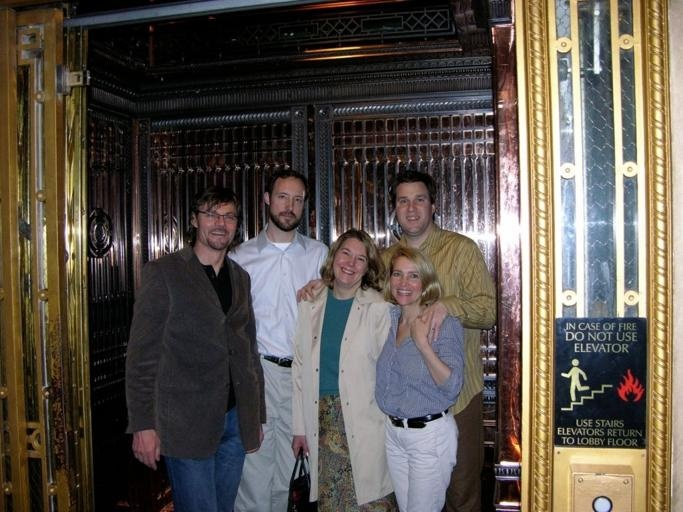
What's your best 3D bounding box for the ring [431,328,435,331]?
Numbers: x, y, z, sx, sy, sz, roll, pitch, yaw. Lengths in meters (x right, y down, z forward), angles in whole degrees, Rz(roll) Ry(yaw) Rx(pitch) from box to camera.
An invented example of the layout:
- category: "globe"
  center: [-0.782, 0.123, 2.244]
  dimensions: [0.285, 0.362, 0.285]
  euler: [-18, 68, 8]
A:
- category: "ring"
  center: [0.489, 0.392, 3.518]
  dimensions: [0.016, 0.020, 0.026]
  euler: [4, -3, -35]
